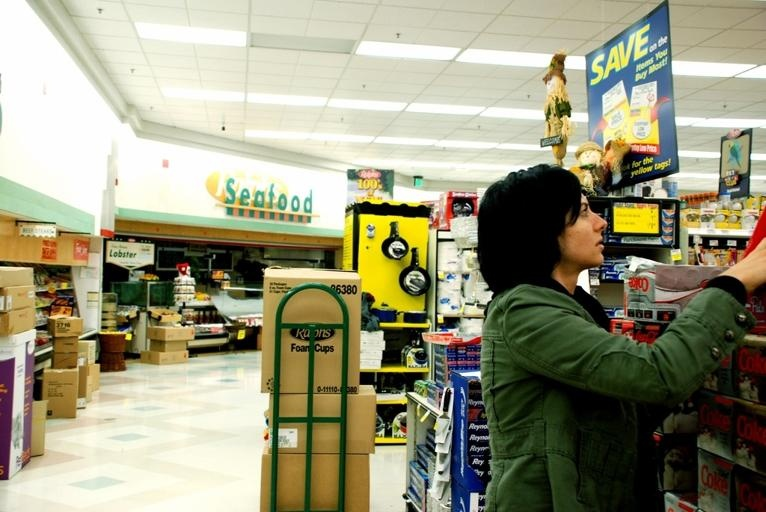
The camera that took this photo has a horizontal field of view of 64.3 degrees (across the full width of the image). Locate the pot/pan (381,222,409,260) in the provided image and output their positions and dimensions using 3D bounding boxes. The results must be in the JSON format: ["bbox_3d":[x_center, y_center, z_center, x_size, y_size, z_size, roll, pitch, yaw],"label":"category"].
[{"bbox_3d":[0.168,-0.191,7.274,0.370,0.428,0.447,5,15,19],"label":"pot/pan"}]

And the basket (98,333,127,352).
[{"bbox_3d":[-4.815,1.539,10.812,0.393,0.217,0.366,6,-10,-41],"label":"basket"}]

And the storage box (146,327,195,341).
[{"bbox_3d":[-4.117,1.474,11.627,0.436,0.150,0.454,-1,-3,28],"label":"storage box"}]

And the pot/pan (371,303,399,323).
[{"bbox_3d":[0.000,0.674,7.199,0.296,0.194,0.167,2,2,-3],"label":"pot/pan"}]

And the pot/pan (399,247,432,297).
[{"bbox_3d":[0.399,0.197,7.081,0.384,0.527,0.090,-1,-2,-15],"label":"pot/pan"}]

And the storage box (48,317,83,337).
[{"bbox_3d":[-4.393,0.958,8.441,0.334,0.204,0.322,0,1,-29],"label":"storage box"}]

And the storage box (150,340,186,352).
[{"bbox_3d":[-4.195,1.715,11.697,0.297,0.134,0.400,-3,-4,36],"label":"storage box"}]

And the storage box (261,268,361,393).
[{"bbox_3d":[-0.462,0.572,4.933,0.855,0.984,0.580,-2,-5,16],"label":"storage box"}]

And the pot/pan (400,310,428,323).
[{"bbox_3d":[0.380,0.710,7.197,0.294,0.138,0.181,2,2,3],"label":"pot/pan"}]

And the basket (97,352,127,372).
[{"bbox_3d":[-4.798,1.863,10.839,0.391,0.273,0.375,-3,-7,14],"label":"basket"}]
